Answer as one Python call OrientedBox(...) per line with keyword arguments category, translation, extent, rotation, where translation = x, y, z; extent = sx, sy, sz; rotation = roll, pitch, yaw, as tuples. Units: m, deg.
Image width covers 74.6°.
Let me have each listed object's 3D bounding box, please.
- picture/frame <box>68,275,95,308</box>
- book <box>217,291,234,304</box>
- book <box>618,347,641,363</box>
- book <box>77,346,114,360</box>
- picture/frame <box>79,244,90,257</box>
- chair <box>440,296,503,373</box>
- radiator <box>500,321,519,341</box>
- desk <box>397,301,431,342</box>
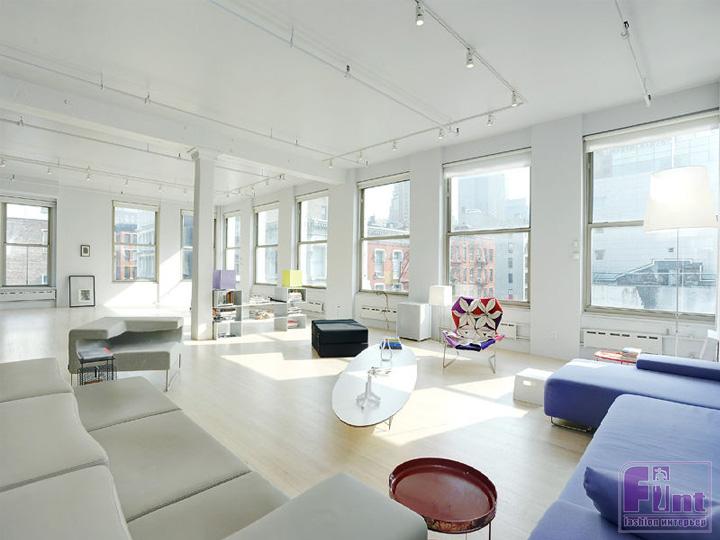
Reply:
OrientedBox(category="picture/frame", translation=(-7.194, 0.571, 12.137), extent=(0.072, 1.121, 0.785), rotation=(-2, -2, 38))
OrientedBox(category="book", translation=(-2.381, 0.500, 8.443), extent=(0.190, 0.262, 0.422), rotation=(2, 8, 9))
OrientedBox(category="book", translation=(3.245, 1.007, 5.627), extent=(0.286, 0.104, 0.230), rotation=(1, 0, -38))
OrientedBox(category="book", translation=(-2.768, 0.877, 4.973), extent=(0.223, 0.057, 0.223), rotation=(3, 0, -13))
OrientedBox(category="picture/frame", translation=(-7.154, -0.495, 12.250), extent=(0.035, 0.324, 0.332), rotation=(0, -2, 41))
OrientedBox(category="chair", translation=(1.655, 0.935, 6.916), extent=(0.792, 1.006, 0.846), rotation=(3, 0, 28))
OrientedBox(category="radiator", translation=(2.416, 0.990, 7.629), extent=(0.158, 0.297, 0.302), rotation=(-3, 5, -42))
OrientedBox(category="desk", translation=(0.948, 0.929, 8.611), extent=(0.533, 0.632, 0.345), rotation=(3, 4, 38))
